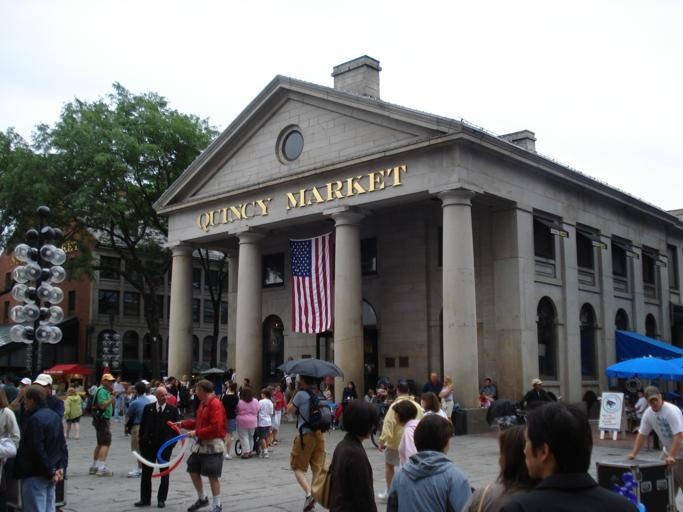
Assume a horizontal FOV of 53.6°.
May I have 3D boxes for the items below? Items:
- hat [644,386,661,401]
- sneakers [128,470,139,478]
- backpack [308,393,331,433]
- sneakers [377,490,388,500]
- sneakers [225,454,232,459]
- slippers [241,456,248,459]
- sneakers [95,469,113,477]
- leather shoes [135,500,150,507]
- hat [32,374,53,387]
[{"bbox_3d":[4.928,2.185,10.717,0.190,0.166,0.283,-12,-14,17],"label":"hat"},{"bbox_3d":[-4.680,4.961,15.302,0.142,0.072,0.191,1,1,-2],"label":"sneakers"},{"bbox_3d":[-0.368,2.722,11.701,0.372,0.662,0.478,0,-12,4],"label":"backpack"},{"bbox_3d":[0.762,4.432,12.531,0.191,0.224,0.509,2,-19,-4],"label":"sneakers"},{"bbox_3d":[-2.991,5.359,17.959,0.083,0.112,0.255,1,-5,18],"label":"sneakers"},{"bbox_3d":[-2.562,5.344,17.892,0.074,0.102,0.246,7,-6,-44],"label":"slippers"},{"bbox_3d":[-5.400,4.961,15.380,0.345,0.165,0.160,9,-3,-21],"label":"sneakers"},{"bbox_3d":[-3.612,4.511,12.255,0.292,0.082,0.222,2,-12,-8],"label":"leather shoes"},{"bbox_3d":[-5.102,2.135,11.560,0.280,0.206,0.396,-1,-11,8],"label":"hat"}]
